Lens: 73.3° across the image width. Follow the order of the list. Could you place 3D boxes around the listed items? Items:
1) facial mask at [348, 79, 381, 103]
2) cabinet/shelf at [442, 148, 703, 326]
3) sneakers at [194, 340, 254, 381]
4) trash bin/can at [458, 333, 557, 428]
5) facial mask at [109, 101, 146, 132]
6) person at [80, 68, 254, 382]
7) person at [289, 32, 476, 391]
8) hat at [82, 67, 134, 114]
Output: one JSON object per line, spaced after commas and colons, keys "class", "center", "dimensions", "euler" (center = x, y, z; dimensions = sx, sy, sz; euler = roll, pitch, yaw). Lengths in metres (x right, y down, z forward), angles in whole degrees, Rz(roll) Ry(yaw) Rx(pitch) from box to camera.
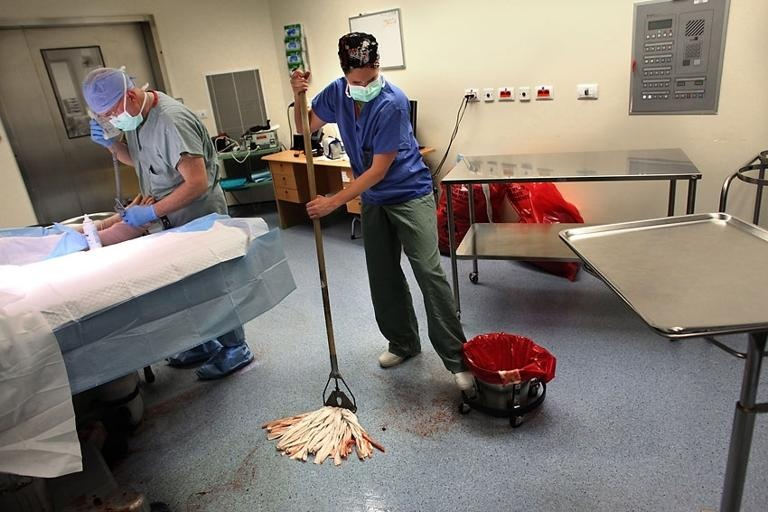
{"class": "facial mask", "center": [-0.109, -0.883, 2.767], "dimensions": [0.202, 0.124, 0.129], "euler": [-1, 23, 6]}
{"class": "cabinet/shelf", "center": [1.272, -0.126, 3.688], "dimensions": [1.536, 1.037, 0.809], "euler": [2, 21, 22]}
{"class": "sneakers", "center": [-1.042, 0.690, 3.389], "dimensions": [0.206, 0.103, 0.279], "euler": [11, 29, 42]}
{"class": "trash bin/can", "center": [0.699, 0.653, 2.876], "dimensions": [0.529, 0.364, 0.474], "euler": [11, 31, 20]}
{"class": "facial mask", "center": [-1.428, -0.764, 2.856], "dimensions": [0.118, 0.119, 0.102], "euler": [-10, -7, 16]}
{"class": "person", "center": [-1.317, -0.216, 3.298], "dimensions": [0.790, 2.248, 0.904], "euler": [-3, 19, -27]}
{"class": "person", "center": [0.049, -0.364, 3.036], "dimensions": [1.040, 2.152, 0.828], "euler": [-9, 17, -13]}
{"class": "hat", "center": [-1.476, -0.873, 2.747], "dimensions": [0.217, 0.221, 0.075], "euler": [-4, 23, 1]}
